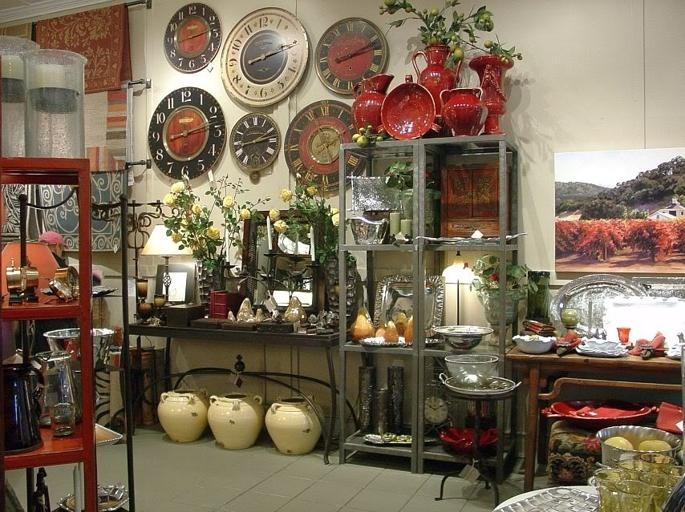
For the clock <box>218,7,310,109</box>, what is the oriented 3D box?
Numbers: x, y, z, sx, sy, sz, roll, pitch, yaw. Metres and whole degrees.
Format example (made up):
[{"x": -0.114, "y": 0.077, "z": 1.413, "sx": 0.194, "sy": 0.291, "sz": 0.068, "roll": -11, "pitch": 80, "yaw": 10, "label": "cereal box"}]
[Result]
[{"x": -0.663, "y": -1.761, "z": 5.312, "sx": 0.966, "sy": 0.962, "sz": 0.071, "roll": 2, "pitch": -1, "yaw": 26, "label": "clock"}]

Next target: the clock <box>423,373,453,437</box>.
[{"x": 0.724, "y": 1.127, "z": 4.576, "sx": 0.330, "sy": 0.432, "sz": 0.103, "roll": -2, "pitch": -6, "yaw": 24, "label": "clock"}]

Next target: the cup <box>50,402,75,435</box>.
[{"x": -1.196, "y": 0.693, "z": 2.544, "sx": 0.087, "sy": 0.136, "sz": 0.108, "roll": -5, "pitch": -7, "yaw": 14, "label": "cup"}]

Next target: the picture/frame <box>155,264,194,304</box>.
[{"x": -1.553, "y": 0.268, "z": 5.562, "sx": 0.372, "sy": 0.372, "sz": 0.025, "roll": 0, "pitch": -4, "yaw": 13, "label": "picture/frame"}]

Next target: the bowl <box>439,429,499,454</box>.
[{"x": 0.905, "y": 1.322, "z": 4.310, "sx": 0.405, "sy": 0.154, "sz": 0.300, "roll": 0, "pitch": 3, "yaw": 12, "label": "bowl"}]

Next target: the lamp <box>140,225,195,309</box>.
[{"x": -1.633, "y": 0.083, "z": 5.529, "sx": 0.518, "sy": 0.842, "sz": 0.527, "roll": -7, "pitch": -6, "yaw": 14, "label": "lamp"}]

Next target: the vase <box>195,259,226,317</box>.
[{"x": -1.182, "y": 0.269, "z": 5.294, "sx": 0.201, "sy": 0.462, "sz": 0.657, "roll": -2, "pitch": 3, "yaw": -36, "label": "vase"}]

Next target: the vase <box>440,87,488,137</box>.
[{"x": 0.878, "y": -0.994, "z": 4.397, "sx": 0.347, "sy": 0.375, "sz": 0.344, "roll": -4, "pitch": -2, "yaw": 44, "label": "vase"}]

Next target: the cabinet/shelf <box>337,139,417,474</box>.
[{"x": 0.296, "y": 0.207, "z": 4.516, "sx": 0.678, "sy": 2.712, "sz": 0.501, "roll": -9, "pitch": -23, "yaw": 14, "label": "cabinet/shelf"}]

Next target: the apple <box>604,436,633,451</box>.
[{"x": 0.947, "y": 0.638, "z": 2.032, "sx": 0.081, "sy": 0.052, "sz": 0.081, "roll": -1, "pitch": 3, "yaw": 6, "label": "apple"}]

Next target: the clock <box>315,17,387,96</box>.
[{"x": 0.076, "y": -1.682, "z": 5.067, "sx": 0.660, "sy": 0.657, "sz": 0.165, "roll": 0, "pitch": 1, "yaw": 20, "label": "clock"}]

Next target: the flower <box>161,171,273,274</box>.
[{"x": -1.147, "y": -0.261, "z": 5.644, "sx": 0.942, "sy": 0.940, "sz": 0.841, "roll": 1, "pitch": -8, "yaw": -4, "label": "flower"}]

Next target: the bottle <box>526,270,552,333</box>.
[{"x": 1.474, "y": 0.300, "z": 4.467, "sx": 0.165, "sy": 0.374, "sz": 0.244, "roll": 0, "pitch": 3, "yaw": 17, "label": "bottle"}]

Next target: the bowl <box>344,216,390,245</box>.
[{"x": 0.196, "y": -0.185, "z": 4.582, "sx": 0.237, "sy": 0.153, "sz": 0.229, "roll": 1, "pitch": 0, "yaw": 0, "label": "bowl"}]

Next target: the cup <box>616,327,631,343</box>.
[{"x": 1.899, "y": 0.527, "z": 4.021, "sx": 0.088, "sy": 0.101, "sz": 0.096, "roll": 3, "pitch": -1, "yaw": 0, "label": "cup"}]

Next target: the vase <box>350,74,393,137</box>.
[{"x": 0.244, "y": -1.155, "z": 4.698, "sx": 0.316, "sy": 0.469, "sz": 0.304, "roll": -3, "pitch": 12, "yaw": -6, "label": "vase"}]

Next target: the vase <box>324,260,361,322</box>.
[{"x": 0.012, "y": 0.205, "z": 4.869, "sx": 0.278, "sy": 0.454, "sz": 0.279, "roll": -4, "pitch": -5, "yaw": 39, "label": "vase"}]

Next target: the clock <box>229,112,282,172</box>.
[{"x": -0.790, "y": -1.023, "z": 5.372, "sx": 0.549, "sy": 0.532, "sz": 0.046, "roll": -14, "pitch": 24, "yaw": -37, "label": "clock"}]

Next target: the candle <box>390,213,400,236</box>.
[{"x": 0.399, "y": -0.245, "z": 4.524, "sx": 0.082, "sy": 0.178, "sz": 0.054, "roll": 0, "pitch": 3, "yaw": 1, "label": "candle"}]

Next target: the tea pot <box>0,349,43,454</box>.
[{"x": -1.305, "y": 0.610, "z": 2.430, "sx": 0.126, "sy": 0.320, "sz": 0.167, "roll": -2, "pitch": 3, "yaw": -27, "label": "tea pot"}]

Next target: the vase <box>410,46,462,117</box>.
[{"x": 0.736, "y": -1.349, "z": 4.571, "sx": 0.382, "sy": 0.476, "sz": 0.291, "roll": -1, "pitch": 9, "yaw": 18, "label": "vase"}]

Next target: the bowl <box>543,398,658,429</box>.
[{"x": 1.587, "y": 0.962, "z": 3.666, "sx": 0.327, "sy": 0.067, "sz": 0.389, "roll": 2, "pitch": -4, "yaw": -40, "label": "bowl"}]

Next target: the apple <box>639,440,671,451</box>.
[{"x": 1.079, "y": 0.658, "z": 2.063, "sx": 0.101, "sy": 0.034, "sz": 0.067, "roll": 1, "pitch": 3, "yaw": 26, "label": "apple"}]

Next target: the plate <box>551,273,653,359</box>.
[{"x": 1.821, "y": 0.321, "z": 4.231, "sx": 0.628, "sy": 0.084, "sz": 0.611, "roll": -29, "pitch": 28, "yaw": -25, "label": "plate"}]

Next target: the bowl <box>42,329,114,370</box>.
[{"x": -1.192, "y": 0.431, "z": 2.738, "sx": 0.304, "sy": 0.176, "sz": 0.291, "roll": 3, "pitch": -2, "yaw": 0, "label": "bowl"}]

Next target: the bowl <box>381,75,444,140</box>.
[{"x": 0.484, "y": -1.054, "z": 4.394, "sx": 0.390, "sy": 0.416, "sz": 0.090, "roll": 1, "pitch": 3, "yaw": 25, "label": "bowl"}]

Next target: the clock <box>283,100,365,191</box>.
[{"x": -0.141, "y": -0.951, "z": 5.146, "sx": 0.801, "sy": 0.778, "sz": 0.063, "roll": 4, "pitch": 5, "yaw": 21, "label": "clock"}]

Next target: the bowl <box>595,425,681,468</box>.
[{"x": 0.994, "y": 0.633, "z": 2.000, "sx": 0.185, "sy": 0.136, "sz": 0.194, "roll": -1, "pitch": 1, "yaw": 0, "label": "bowl"}]

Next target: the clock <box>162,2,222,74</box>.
[{"x": -1.384, "y": -2.046, "z": 5.596, "sx": 0.739, "sy": 0.742, "sz": 0.060, "roll": -1, "pitch": 4, "yaw": 25, "label": "clock"}]

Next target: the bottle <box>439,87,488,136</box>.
[{"x": 0.888, "y": -1.034, "z": 4.348, "sx": 0.326, "sy": 0.353, "sz": 0.323, "roll": 3, "pitch": 8, "yaw": 41, "label": "bottle"}]

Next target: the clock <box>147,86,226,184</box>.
[{"x": -1.438, "y": -1.137, "z": 5.618, "sx": 0.967, "sy": 0.986, "sz": 0.100, "roll": -1, "pitch": -1, "yaw": 21, "label": "clock"}]

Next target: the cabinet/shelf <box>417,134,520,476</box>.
[{"x": 0.936, "y": 0.330, "z": 4.630, "sx": 0.843, "sy": 2.427, "sz": 0.785, "roll": 0, "pitch": 2, "yaw": -11, "label": "cabinet/shelf"}]

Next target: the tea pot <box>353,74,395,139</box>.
[{"x": 0.235, "y": -1.168, "z": 4.689, "sx": 0.289, "sy": 0.439, "sz": 0.290, "roll": -1, "pitch": 19, "yaw": 0, "label": "tea pot"}]
